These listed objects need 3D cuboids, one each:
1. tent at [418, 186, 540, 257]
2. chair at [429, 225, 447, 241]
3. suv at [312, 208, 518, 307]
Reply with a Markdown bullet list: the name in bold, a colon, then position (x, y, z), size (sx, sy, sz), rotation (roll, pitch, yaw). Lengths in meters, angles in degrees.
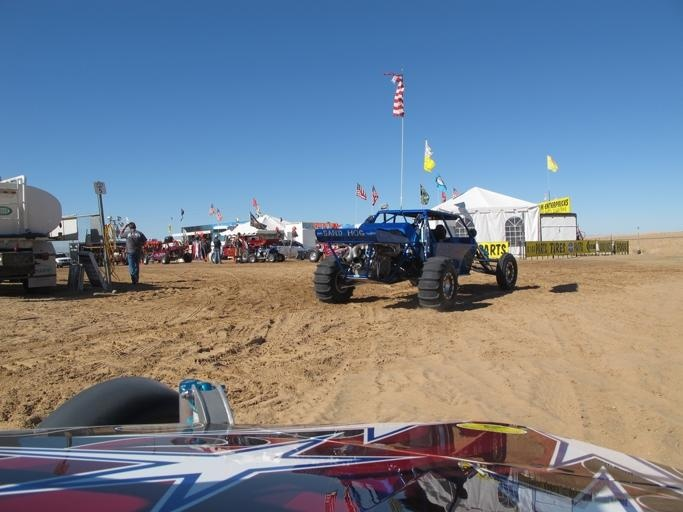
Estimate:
- **tent**: position (8.850, -2.015, 27.667), size (4.679, 2.515, 4.452), rotation (-2, -1, -23)
- **chair**: position (1.852, -0.453, 9.377), size (0.248, 0.318, 0.335), rotation (-11, -21, 20)
- **suv**: position (1.419, -0.059, 9.068), size (1.940, 1.237, 3.383), rotation (1, 3, 42)
